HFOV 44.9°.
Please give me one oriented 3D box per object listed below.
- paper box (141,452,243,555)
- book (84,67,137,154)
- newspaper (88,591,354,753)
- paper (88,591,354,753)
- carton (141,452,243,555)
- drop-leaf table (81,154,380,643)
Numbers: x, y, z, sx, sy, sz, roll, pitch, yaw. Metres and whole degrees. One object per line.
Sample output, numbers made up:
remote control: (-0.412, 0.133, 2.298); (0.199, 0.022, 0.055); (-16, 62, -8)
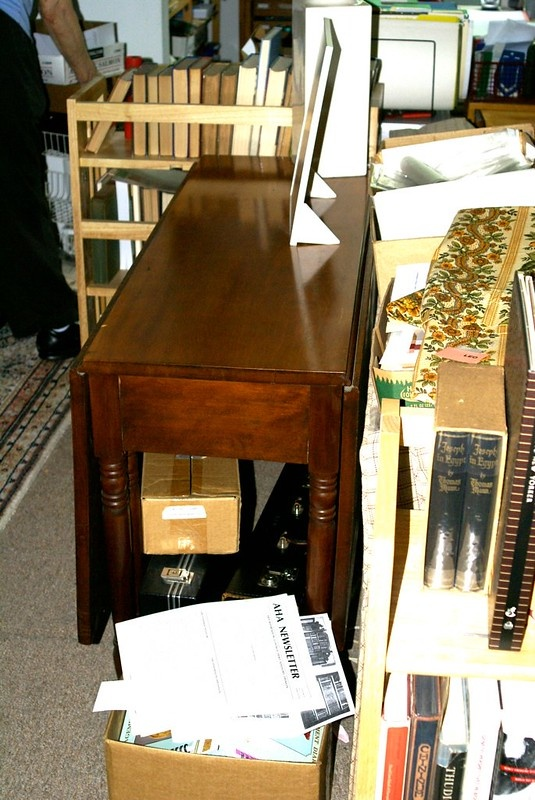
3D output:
paper box: (-0.158, 0.201, 1.330); (0.190, 0.134, 0.262); (1, 17, -5)
book: (-0.498, -0.902, 2.057); (0.062, 0.282, 0.267); (4, -6, -21)
newspaper: (-0.055, 0.407, 0.970); (0.266, 0.067, 0.224); (-5, 40, -17)
paper: (-0.058, 0.407, 0.961); (0.266, 0.067, 0.224); (-5, 40, -17)
carton: (-0.160, 0.200, 1.333); (0.187, 0.137, 0.260); (1, 18, -7)
drop-leaf table: (-0.054, 0.027, 1.424); (0.523, 0.772, 0.838); (4, 26, 10)
